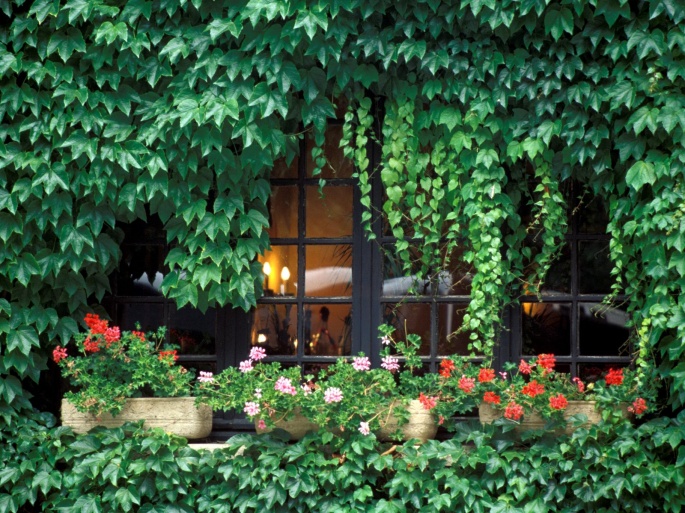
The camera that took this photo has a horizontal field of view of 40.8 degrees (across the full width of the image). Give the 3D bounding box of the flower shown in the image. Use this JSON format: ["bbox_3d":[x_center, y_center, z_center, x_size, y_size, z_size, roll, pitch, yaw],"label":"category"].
[{"bbox_3d":[-0.088,0.675,5.140,3.495,0.721,0.501,-1,-6,3],"label":"flower"}]
